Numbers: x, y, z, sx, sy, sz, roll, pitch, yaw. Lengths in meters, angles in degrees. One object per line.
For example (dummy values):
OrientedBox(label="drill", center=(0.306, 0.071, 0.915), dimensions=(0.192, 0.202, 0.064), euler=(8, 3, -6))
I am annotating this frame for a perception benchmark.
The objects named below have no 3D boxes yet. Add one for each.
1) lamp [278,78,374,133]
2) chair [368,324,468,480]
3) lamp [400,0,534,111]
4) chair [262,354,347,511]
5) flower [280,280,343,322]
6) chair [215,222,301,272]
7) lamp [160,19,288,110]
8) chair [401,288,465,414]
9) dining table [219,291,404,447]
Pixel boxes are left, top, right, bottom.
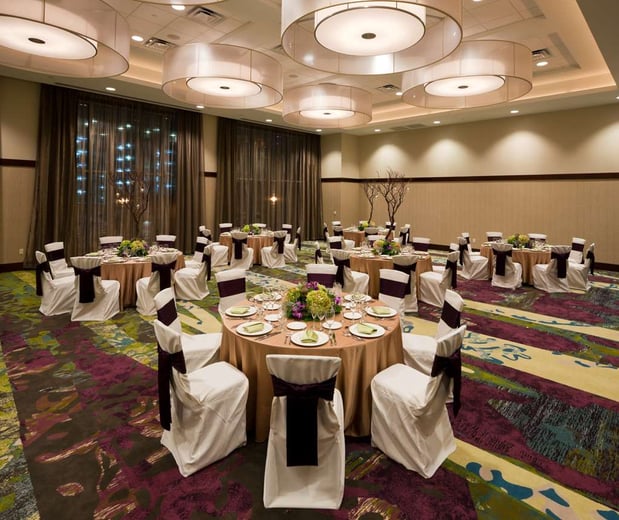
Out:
OrientedBox(label="lamp", center=(0.409, -2.636, 6.638), dimensions=(1.198, 0.317, 1.227), euler=(-2, 5, -33))
OrientedBox(label="chair", center=(0.855, 1.102, 3.215), dimensions=(0.648, 1.088, 0.583), euler=(4, 9, 42))
OrientedBox(label="lamp", center=(2.125, -2.679, 5.580), dimensions=(2.012, 0.534, 2.100), euler=(5, 11, -24))
OrientedBox(label="chair", center=(-0.009, 1.214, 2.987), dimensions=(0.600, 1.186, 0.775), euler=(1, 7, 9))
OrientedBox(label="flower", center=(-0.038, 0.432, 3.860), dimensions=(0.569, 0.357, 0.493), euler=(-5, 14, -36))
OrientedBox(label="chair", center=(-1.246, -0.346, 10.186), dimensions=(1.913, 1.024, 1.267), euler=(-6, 16, -24))
OrientedBox(label="lamp", center=(-1.273, -2.701, 5.689), dimensions=(1.643, 0.736, 1.697), euler=(-5, 16, -20))
OrientedBox(label="chair", center=(1.255, 0.732, 3.978), dimensions=(0.696, 1.289, 0.751), euler=(4, 6, 13))
OrientedBox(label="dining table", center=(-0.067, 0.904, 3.355), dimensions=(1.059, 0.593, 1.102), euler=(3, 6, 32))
